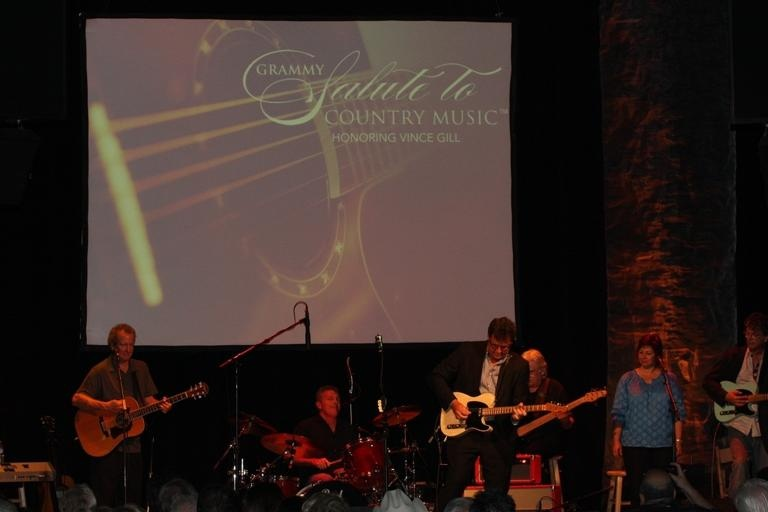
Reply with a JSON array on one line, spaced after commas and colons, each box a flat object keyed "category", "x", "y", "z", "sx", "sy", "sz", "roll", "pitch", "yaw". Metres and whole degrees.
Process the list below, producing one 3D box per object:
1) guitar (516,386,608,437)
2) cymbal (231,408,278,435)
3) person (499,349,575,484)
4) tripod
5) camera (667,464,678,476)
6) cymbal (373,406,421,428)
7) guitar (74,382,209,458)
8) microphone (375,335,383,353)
[{"category": "guitar", "x": 1.987, "y": 1.755, "z": 8.797, "sx": 1.197, "sy": 0.135, "sz": 0.245, "roll": -28, "pitch": -11, "yaw": 23}, {"category": "cymbal", "x": -1.421, "y": 1.847, "z": 8.659, "sx": 0.478, "sy": 0.252, "sz": 0.677, "roll": -2, "pitch": -13, "yaw": 7}, {"category": "person", "x": 1.818, "y": 1.748, "z": 8.817, "sx": 0.642, "sy": 1.580, "sz": 0.226, "roll": 1, "pitch": -20, "yaw": 25}, {"category": "tripod", "x": 0.348, "y": 2.356, "z": 9.043, "sx": 0.701, "sy": 0.849, "sz": 0.748, "roll": 0, "pitch": -1, "yaw": -13}, {"category": "camera", "x": 2.510, "y": 1.877, "z": 6.820, "sx": 0.078, "sy": 0.035, "sz": 0.122, "roll": -2, "pitch": 10, "yaw": 4}, {"category": "cymbal", "x": 0.141, "y": 1.761, "z": 8.599, "sx": 0.491, "sy": 0.228, "sz": 1.122, "roll": 0, "pitch": -13, "yaw": -2}, {"category": "guitar", "x": -2.601, "y": 1.704, "z": 8.456, "sx": 1.338, "sy": 0.633, "sz": 0.192, "roll": -22, "pitch": -1, "yaw": -16}, {"category": "microphone", "x": -0.055, "y": 0.931, "z": 8.244, "sx": 0.098, "sy": 0.200, "sz": 0.047, "roll": 3, "pitch": 2, "yaw": 6}]
